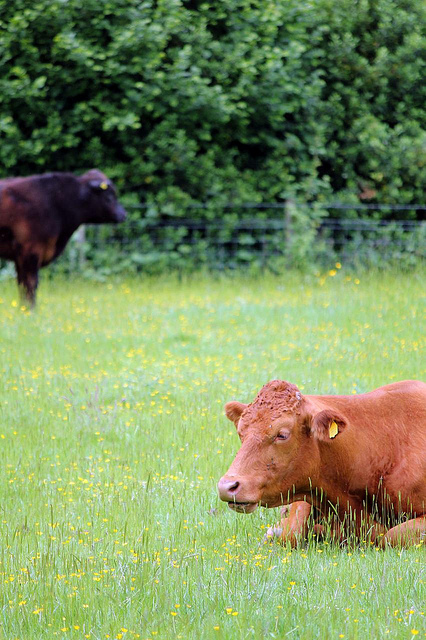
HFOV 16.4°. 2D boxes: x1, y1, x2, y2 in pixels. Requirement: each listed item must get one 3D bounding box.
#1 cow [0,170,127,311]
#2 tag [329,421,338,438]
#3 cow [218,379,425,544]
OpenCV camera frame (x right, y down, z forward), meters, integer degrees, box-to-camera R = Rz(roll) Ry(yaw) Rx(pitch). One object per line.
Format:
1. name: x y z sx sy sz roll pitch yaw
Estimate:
1. cow: -1.646 -0.879 15.138 0.483 1.200 1.607 6 15 27
2. tag: 0.679 0.614 8.454 0.065 0.090 0.019 -1 -2 6
3. cow: 0.691 0.820 8.695 1.458 0.946 0.634 -7 14 -26
